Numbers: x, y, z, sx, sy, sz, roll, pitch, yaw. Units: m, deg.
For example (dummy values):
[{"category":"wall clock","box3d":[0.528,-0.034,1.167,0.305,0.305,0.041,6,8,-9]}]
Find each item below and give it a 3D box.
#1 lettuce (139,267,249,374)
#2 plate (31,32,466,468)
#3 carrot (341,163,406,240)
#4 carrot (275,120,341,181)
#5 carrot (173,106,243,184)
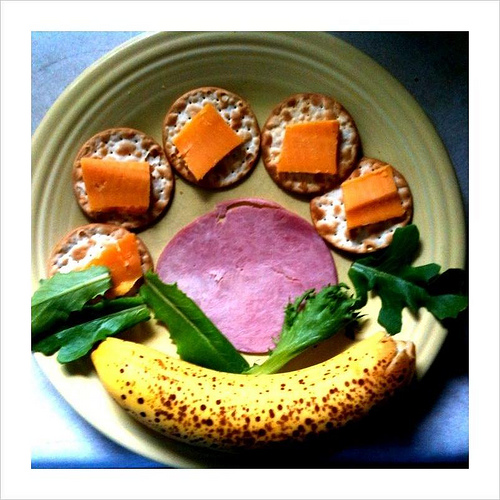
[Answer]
[{"category":"lettuce","box3d":[-0.186,0.174,1.426,0.410,0.043,0.132,40,70,8]},{"category":"plate","box3d":[-0.004,0.010,1.359,1.245,0.917,0.138,-1,10,-5]},{"category":"carrot","box3d":[0.294,-0.129,1.386,0.136,0.108,0.114,-6,49,4]},{"category":"carrot","box3d":[0.140,-0.245,1.384,0.154,0.099,0.095,-4,49,5]},{"category":"carrot","box3d":[-0.097,-0.268,1.420,0.185,0.060,0.175,-40,91,4]}]
